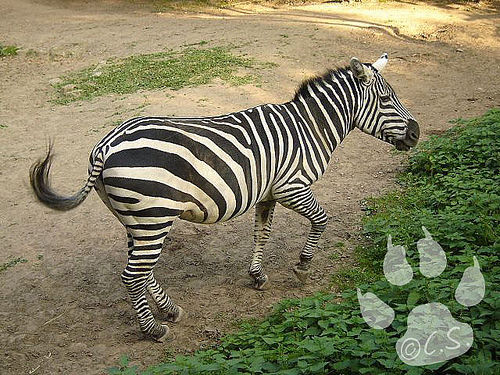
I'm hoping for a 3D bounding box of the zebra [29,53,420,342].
[{"bbox_3d":[-0.184,0.158,7.842,5.965,3.096,1.358,-11,16,-33],"label":"zebra"}]
